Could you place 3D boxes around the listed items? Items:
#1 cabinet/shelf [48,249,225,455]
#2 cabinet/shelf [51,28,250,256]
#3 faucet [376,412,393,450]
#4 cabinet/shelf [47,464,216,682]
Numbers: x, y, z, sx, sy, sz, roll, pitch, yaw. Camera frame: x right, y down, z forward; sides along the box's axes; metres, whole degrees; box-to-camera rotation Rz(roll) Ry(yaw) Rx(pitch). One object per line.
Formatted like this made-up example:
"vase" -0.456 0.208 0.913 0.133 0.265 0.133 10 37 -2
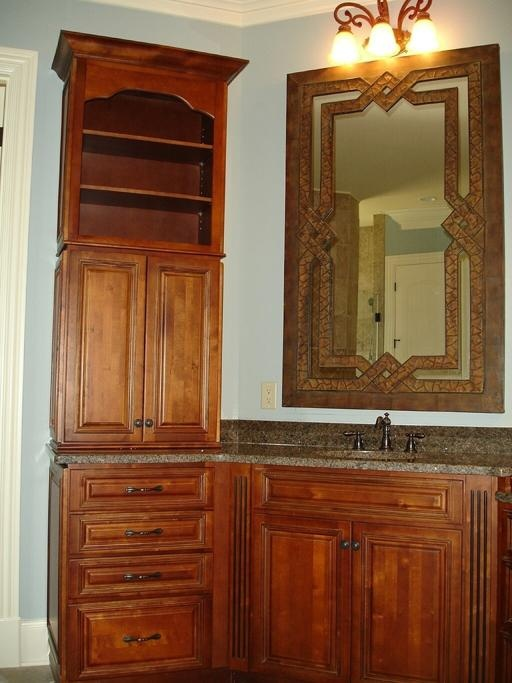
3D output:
"cabinet/shelf" -0.451 0.046 2.643 0.795 0.927 0.381 2 -4 -11
"cabinet/shelf" -0.468 -0.761 2.892 0.734 0.862 0.527 2 -6 -20
"faucet" 0.518 0.360 2.794 0.068 0.151 0.152 -1 -6 10
"cabinet/shelf" -0.447 0.847 2.817 0.750 1.073 0.722 2 -10 -19
